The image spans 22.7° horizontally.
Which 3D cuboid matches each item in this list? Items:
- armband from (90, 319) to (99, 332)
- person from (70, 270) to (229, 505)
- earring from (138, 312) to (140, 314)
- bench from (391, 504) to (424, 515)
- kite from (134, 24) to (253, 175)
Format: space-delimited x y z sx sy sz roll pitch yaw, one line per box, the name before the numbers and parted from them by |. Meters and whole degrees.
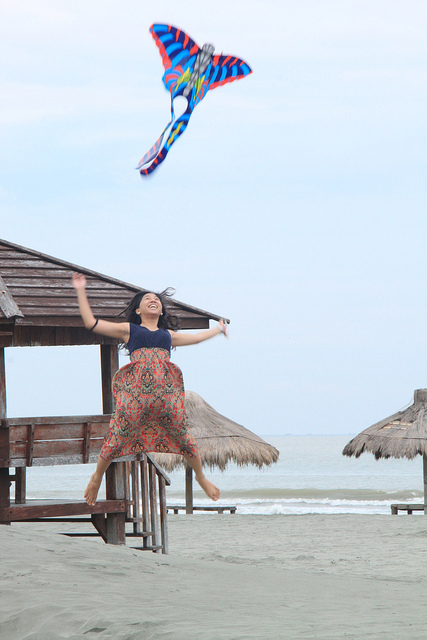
armband | -0.898 0.043 7.909 0.021 0.081 0.087 21 -23 27
person | -0.505 0.509 8.056 1.133 1.605 0.653 3 -9 0
earring | -0.591 -0.053 8.285 0.014 0.012 0.013 0 -5 5
bench | 3.527 3.447 19.468 0.537 0.199 1.186 1 -8 6
kite | -0.173 -1.689 8.105 0.763 1.405 1.370 3 -8 1
